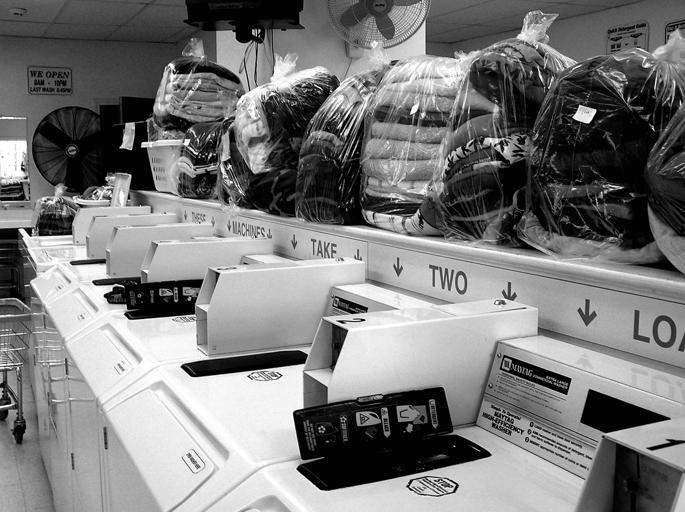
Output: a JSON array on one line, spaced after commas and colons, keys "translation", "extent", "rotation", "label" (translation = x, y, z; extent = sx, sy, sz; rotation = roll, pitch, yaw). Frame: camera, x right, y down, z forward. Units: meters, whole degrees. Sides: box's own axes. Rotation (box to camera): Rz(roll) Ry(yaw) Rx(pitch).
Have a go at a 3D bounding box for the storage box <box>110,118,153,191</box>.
[{"translation": [-1.694, -0.792, 3.885], "extent": [0.305, 0.529, 0.847], "rotation": [-6, 12, -26], "label": "storage box"}]
